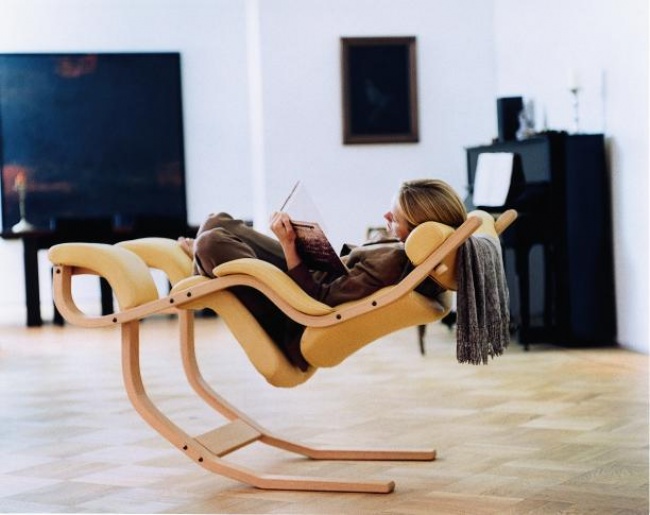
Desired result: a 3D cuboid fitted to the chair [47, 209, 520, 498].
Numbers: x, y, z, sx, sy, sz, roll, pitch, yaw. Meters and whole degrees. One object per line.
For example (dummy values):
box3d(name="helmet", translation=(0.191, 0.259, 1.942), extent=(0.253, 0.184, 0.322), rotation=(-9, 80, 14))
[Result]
box3d(name="chair", translation=(-0.199, 0.400, 3.442), extent=(1.701, 1.010, 0.912), rotation=(-1, -3, 6))

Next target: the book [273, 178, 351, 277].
box3d(name="book", translation=(0.015, -0.106, 3.198), extent=(0.125, 0.378, 0.280), rotation=(-45, 21, -28))

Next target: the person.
box3d(name="person", translation=(0.082, -0.051, 3.488), extent=(1.183, 0.844, 0.596), rotation=(21, 12, 8))

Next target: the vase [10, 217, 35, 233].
box3d(name="vase", translation=(-2.676, -0.294, 7.191), extent=(0.130, 0.142, 0.129), rotation=(-5, -22, -6))

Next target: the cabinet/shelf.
box3d(name="cabinet/shelf", translation=(1.346, -0.077, 4.769), extent=(0.448, 1.358, 1.372), rotation=(-2, 5, -6))

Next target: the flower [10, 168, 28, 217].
box3d(name="flower", translation=(-2.809, -0.585, 7.476), extent=(0.114, 0.452, 0.057), rotation=(0, 7, 17))
